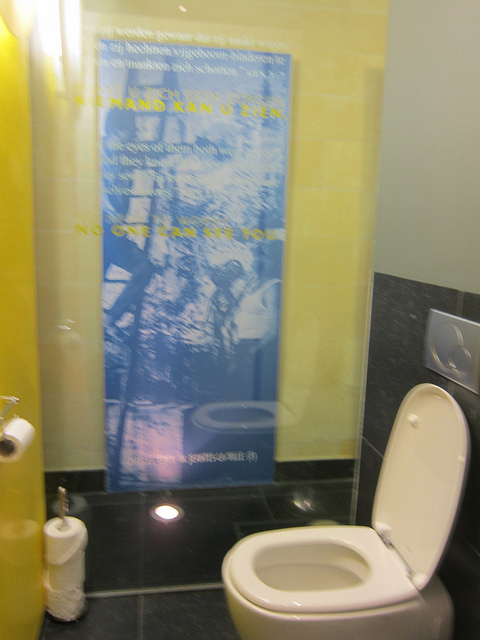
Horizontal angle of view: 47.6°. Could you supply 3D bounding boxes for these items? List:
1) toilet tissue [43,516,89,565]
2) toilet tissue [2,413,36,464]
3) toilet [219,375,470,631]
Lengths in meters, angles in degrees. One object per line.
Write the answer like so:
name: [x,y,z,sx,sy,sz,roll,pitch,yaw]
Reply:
toilet tissue: [-0.554,0.711,1.728,0.139,0.124,0.137,4,9,-6]
toilet tissue: [-0.513,0.281,1.297,0.085,0.086,0.099,-5,15,5]
toilet: [0.344,0.412,1.718,0.873,0.994,0.471,0,19,-3]
